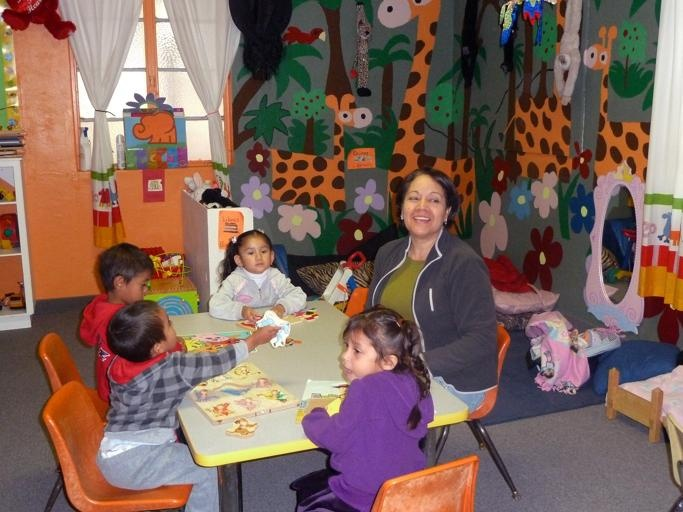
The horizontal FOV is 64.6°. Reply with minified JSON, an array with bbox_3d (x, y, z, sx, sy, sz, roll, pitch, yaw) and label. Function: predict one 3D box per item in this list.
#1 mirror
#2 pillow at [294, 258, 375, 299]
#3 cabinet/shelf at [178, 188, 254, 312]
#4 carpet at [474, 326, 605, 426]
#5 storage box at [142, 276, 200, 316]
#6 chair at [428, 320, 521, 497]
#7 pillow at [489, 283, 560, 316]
[{"bbox_3d":[2.152,-0.070,4.192,0.126,1.265,0.599,-4,12,-9],"label":"mirror"},{"bbox_3d":[-0.075,0.175,5.034,0.414,0.138,0.438,-5,20,-5],"label":"pillow"},{"bbox_3d":[-0.923,-0.032,3.865,0.287,0.884,0.892,-5,15,-21],"label":"cabinet/shelf"},{"bbox_3d":[1.307,0.813,3.670,0.542,0.070,0.603,-7,14,-3],"label":"carpet"},{"bbox_3d":[-1.401,0.299,4.485,0.375,0.243,0.380,-3,1,-24],"label":"storage box"},{"bbox_3d":[0.596,0.786,2.606,0.427,0.555,0.422,-6,-2,-5],"label":"chair"},{"bbox_3d":[1.650,0.384,4.809,0.609,0.176,0.265,-4,11,-9],"label":"pillow"}]
